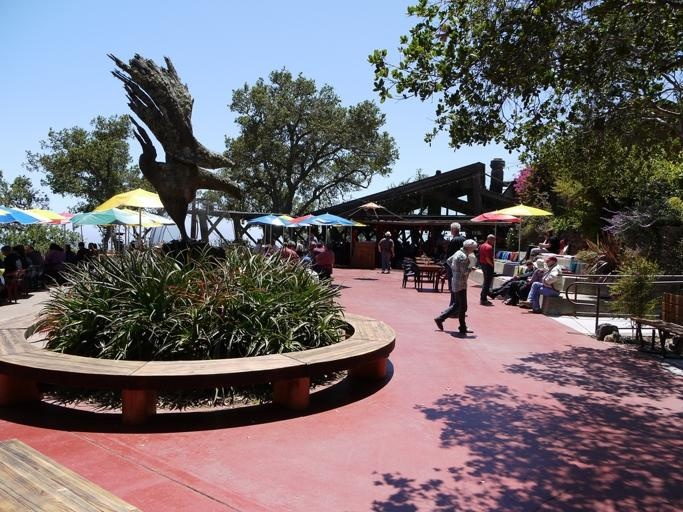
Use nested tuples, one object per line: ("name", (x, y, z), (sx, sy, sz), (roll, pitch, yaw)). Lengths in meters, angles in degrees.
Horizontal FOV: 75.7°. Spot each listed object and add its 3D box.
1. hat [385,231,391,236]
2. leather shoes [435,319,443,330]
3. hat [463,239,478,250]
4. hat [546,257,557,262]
("hat", (2.557, -1.227, 24.365), (0.327, 0.327, 0.383), (4, 11, 12))
("leather shoes", (2.157, 1.496, 9.750), (0.113, 0.259, 0.089), (-32, 8, -6))
("hat", (2.733, -0.230, 9.292), (0.211, 0.153, 0.302), (11, 24, 36))
("hat", (5.951, 0.075, 12.491), (0.186, 0.181, 0.162), (12, 2, 42))
